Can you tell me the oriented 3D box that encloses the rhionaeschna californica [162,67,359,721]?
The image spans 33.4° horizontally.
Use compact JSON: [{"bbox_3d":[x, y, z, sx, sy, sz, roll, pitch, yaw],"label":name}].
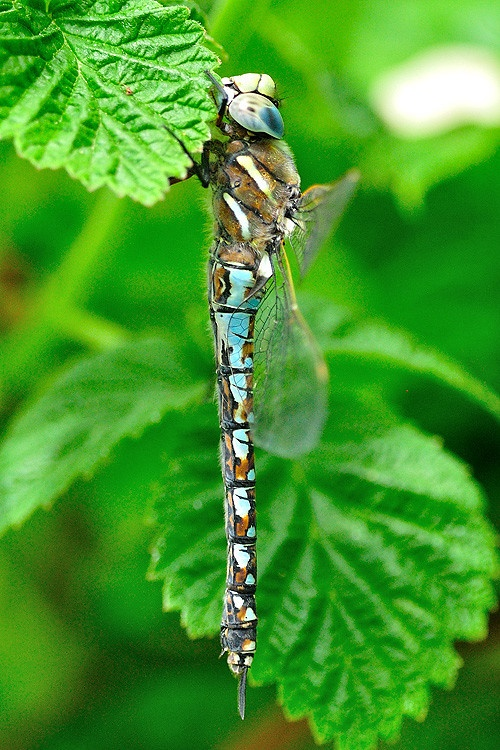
[{"bbox_3d":[0.071,-0.035,1.270,0.481,0.737,0.191,6,15,19],"label":"rhionaeschna californica"}]
